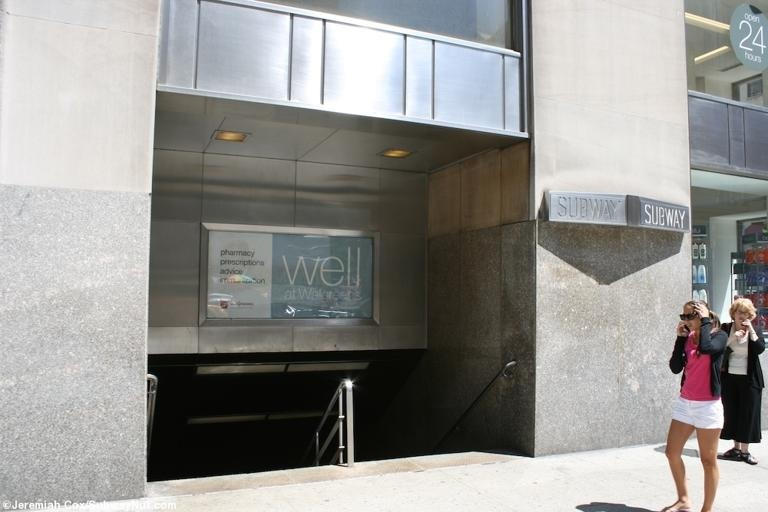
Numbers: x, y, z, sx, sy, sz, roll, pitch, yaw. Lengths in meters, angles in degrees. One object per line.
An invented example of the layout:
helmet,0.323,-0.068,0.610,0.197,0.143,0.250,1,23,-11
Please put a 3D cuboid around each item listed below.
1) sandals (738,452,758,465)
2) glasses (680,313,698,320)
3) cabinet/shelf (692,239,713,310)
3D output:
sandals,5.939,3.347,11.017,0.129,0.120,0.317,-2,-10,2
glasses,4.022,0.815,8.960,0.143,0.047,0.130,13,-18,-10
cabinet/shelf,6.324,0.315,13.327,0.367,1.333,0.354,-1,9,36
